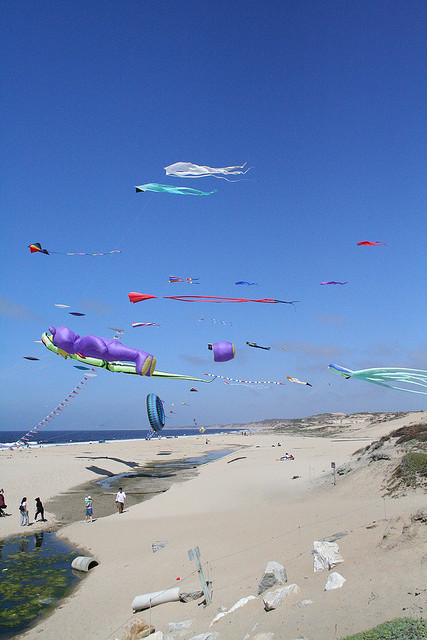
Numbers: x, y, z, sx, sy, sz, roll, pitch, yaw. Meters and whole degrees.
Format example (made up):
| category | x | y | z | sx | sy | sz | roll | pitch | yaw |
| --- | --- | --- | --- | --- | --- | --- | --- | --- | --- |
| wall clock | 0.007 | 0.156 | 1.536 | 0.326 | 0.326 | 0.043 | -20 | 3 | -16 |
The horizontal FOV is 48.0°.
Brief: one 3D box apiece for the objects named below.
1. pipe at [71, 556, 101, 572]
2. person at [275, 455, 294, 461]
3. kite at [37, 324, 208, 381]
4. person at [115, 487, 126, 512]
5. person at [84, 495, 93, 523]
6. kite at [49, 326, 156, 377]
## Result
| category | x | y | z | sx | sy | sz | roll | pitch | yaw |
| --- | --- | --- | --- | --- | --- | --- | --- | --- | --- |
| pipe | -3.677 | 6.979 | 13.848 | 0.694 | 0.291 | 0.663 | -12 | -12 | 34 |
| person | 4.817 | 9.360 | 32.482 | 0.685 | 0.250 | 0.838 | 1 | -3 | -23 |
| kite | -3.218 | 0.964 | 13.791 | 3.113 | 0.420 | 2.729 | 11 | -8 | 5 |
| person | -3.897 | 7.457 | 19.951 | 0.306 | 0.986 | 1.272 | -3 | -11 | -13 |
| person | -4.934 | 7.367 | 18.807 | 0.305 | 1.027 | 1.413 | -3 | -11 | -17 |
| kite | -2.932 | 0.859 | 12.685 | 3.177 | 0.784 | 1.014 | 9 | -26 | 15 |
